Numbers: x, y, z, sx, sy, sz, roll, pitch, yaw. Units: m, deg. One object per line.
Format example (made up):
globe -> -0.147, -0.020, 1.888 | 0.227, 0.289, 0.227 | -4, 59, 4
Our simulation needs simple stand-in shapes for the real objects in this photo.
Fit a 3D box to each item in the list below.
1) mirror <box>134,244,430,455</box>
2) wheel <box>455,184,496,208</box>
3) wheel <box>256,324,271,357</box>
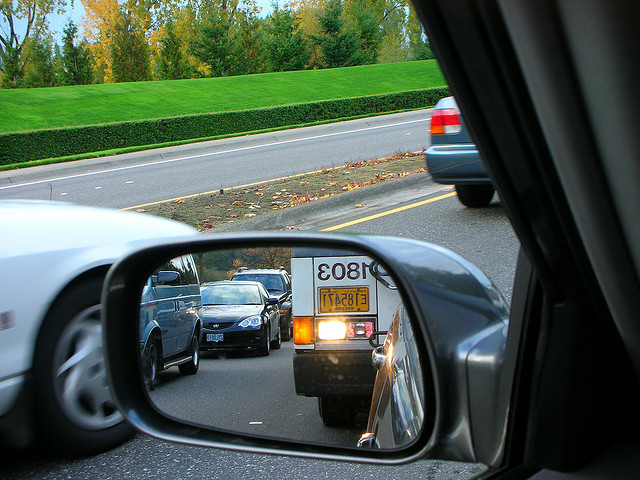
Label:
mirror -> -0.112, 0.289, 1.578 | 0.917, 0.603, 0.534 | -2, 16, 22
wheel -> 0.684, -0.194, 2.252 | 0.177, 0.092, 0.267 | -3, -11, 14
wheel -> -0.190, 0.345, 1.753 | 0.029, 0.100, 0.094 | -1, -4, 6
